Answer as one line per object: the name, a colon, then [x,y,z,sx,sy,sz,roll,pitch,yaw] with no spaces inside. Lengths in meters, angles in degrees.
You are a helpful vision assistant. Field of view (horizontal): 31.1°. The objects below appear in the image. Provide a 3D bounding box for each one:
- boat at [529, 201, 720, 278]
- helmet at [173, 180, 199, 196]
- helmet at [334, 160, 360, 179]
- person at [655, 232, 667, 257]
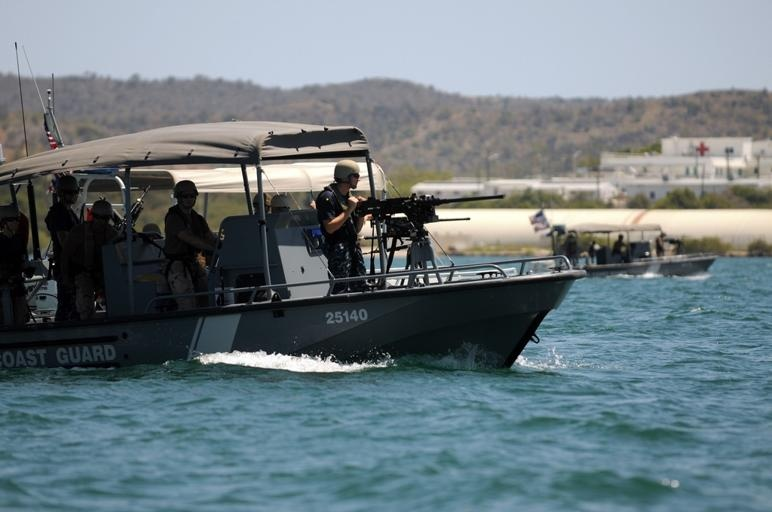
boat: [10.128,-0.697,58.529,8.160,3.050,3.321,-1,7,-5]
helmet: [-3.374,-1.152,23.366,0.340,0.244,0.345,-3,1,-13]
helmet: [-0.674,-1.473,23.361,0.401,0.290,0.297,-12,17,-27]
person: [10.315,-0.443,52.134,0.369,0.612,1.411,-3,1,12]
